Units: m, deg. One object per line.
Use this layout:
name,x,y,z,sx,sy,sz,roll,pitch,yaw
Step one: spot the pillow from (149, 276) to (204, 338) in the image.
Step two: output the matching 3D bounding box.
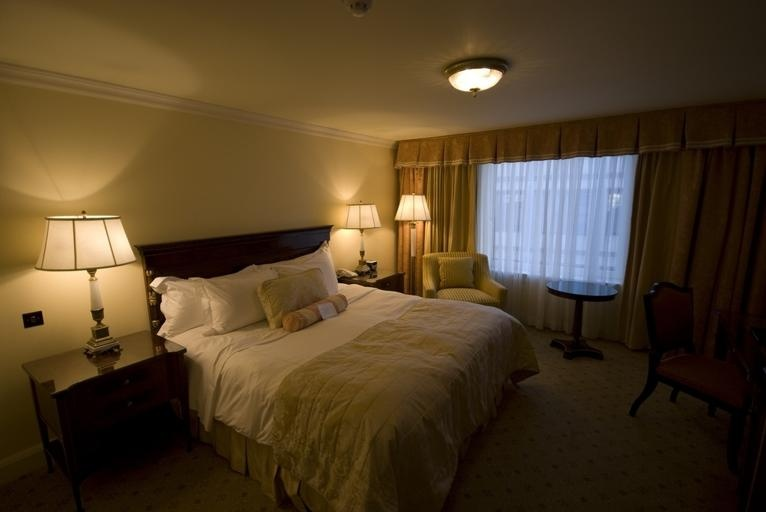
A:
pillow,-1.917,0.482,4.517,0.251,0.464,0.489,5,7,19

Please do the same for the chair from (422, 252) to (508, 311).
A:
chair,0.950,0.283,6.116,0.856,0.766,0.728,-1,-1,-1

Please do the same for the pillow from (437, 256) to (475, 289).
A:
pillow,0.927,0.223,6.215,0.391,0.360,0.145,0,-7,3

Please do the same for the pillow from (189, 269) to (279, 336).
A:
pillow,-1.401,0.440,4.594,0.559,0.522,0.169,-11,-8,-46

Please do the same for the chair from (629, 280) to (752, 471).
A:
chair,2.843,0.973,4.378,0.829,1.279,0.929,-8,16,-35
